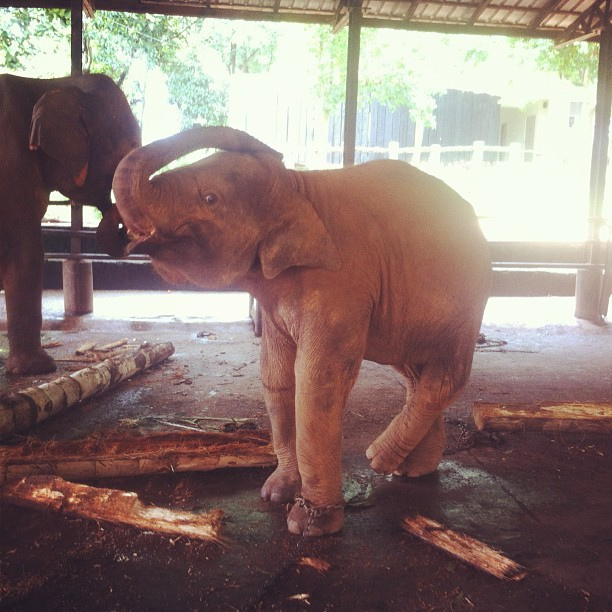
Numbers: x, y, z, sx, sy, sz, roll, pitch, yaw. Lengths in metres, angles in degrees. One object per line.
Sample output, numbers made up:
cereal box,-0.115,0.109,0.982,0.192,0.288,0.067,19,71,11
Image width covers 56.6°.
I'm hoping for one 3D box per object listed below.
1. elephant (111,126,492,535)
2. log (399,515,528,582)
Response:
elephant,0.104,0.095,2.635,1.466,1.851,0.826,-3,16,-12
log,0.625,0.937,2.202,0.148,0.011,0.522,-12,21,-29
